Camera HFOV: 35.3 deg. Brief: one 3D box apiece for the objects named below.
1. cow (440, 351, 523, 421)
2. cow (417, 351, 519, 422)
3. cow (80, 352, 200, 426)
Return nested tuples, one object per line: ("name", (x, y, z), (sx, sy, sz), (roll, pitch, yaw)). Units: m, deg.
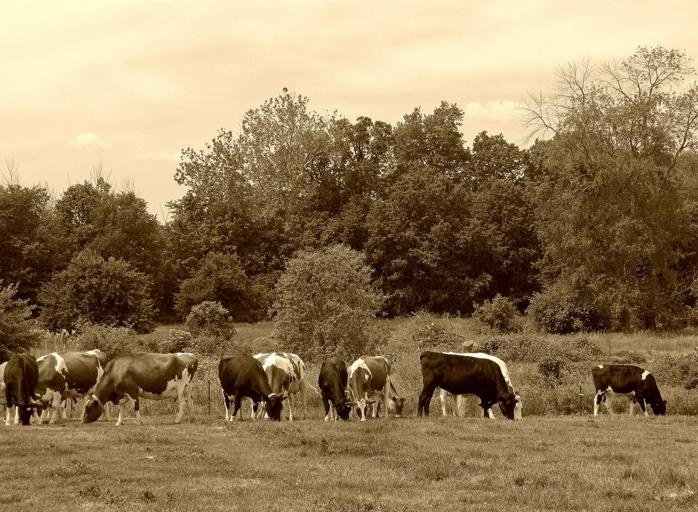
("cow", (6.628, 6.854, 56.898), (5.328, 3.415, 1.393), (6, 16, 42))
("cow", (6.233, 6.849, 56.631), (5.287, 3.639, 1.873), (8, 10, 1))
("cow", (-10.053, 6.447, 53.454), (5.044, 3.498, 0.950), (-1, -8, -11))
